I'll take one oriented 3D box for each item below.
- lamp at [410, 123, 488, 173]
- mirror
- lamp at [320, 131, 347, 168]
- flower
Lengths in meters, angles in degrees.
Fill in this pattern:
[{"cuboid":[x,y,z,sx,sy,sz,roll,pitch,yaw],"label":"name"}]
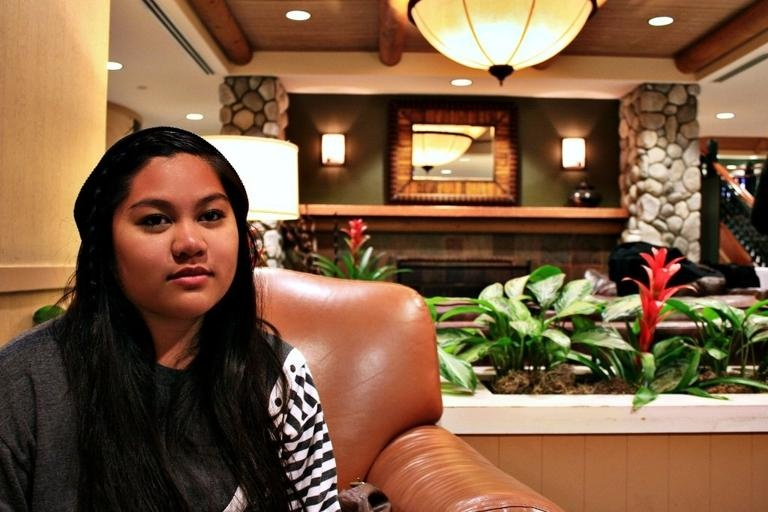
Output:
[{"cuboid":[0.523,-1.086,5.906,0.599,0.308,0.486,1,-3,-11],"label":"lamp"},{"cuboid":[0.633,-1.002,5.903,0.981,0.816,0.077,0,0,-5],"label":"mirror"},{"cuboid":[-0.485,-1.010,5.807,0.260,0.308,0.269,-6,-10,43],"label":"lamp"},{"cuboid":[1.196,0.261,2.730,0.406,0.754,0.500,0,7,8],"label":"flower"}]
